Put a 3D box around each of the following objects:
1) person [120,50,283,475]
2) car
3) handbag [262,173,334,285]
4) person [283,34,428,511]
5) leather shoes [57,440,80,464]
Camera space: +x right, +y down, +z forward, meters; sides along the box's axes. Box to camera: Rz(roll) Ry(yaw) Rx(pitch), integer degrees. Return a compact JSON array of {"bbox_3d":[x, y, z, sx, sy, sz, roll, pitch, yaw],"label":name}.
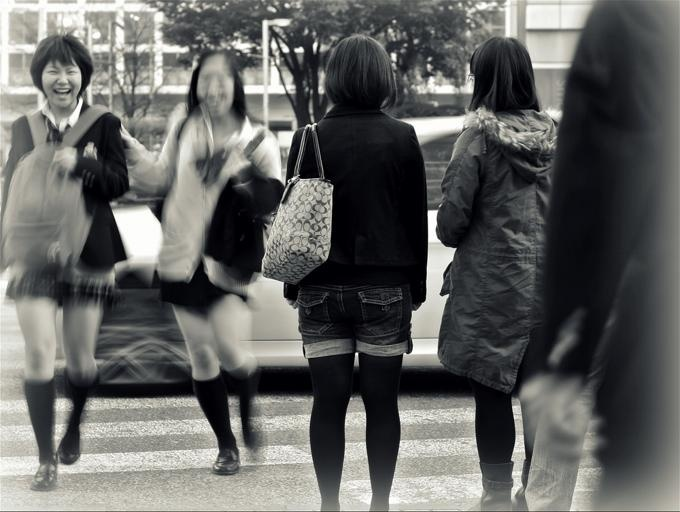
[{"bbox_3d":[-0.701,0.058,5.670,0.794,2.230,0.332,-1,9,-4],"label":"person"},{"bbox_3d":[-0.345,0.055,7.242,2.332,1.232,1.367,1,-1,0],"label":"car"},{"bbox_3d":[-0.185,-0.115,4.893,0.182,0.460,0.466,13,-12,-23],"label":"handbag"},{"bbox_3d":[0.097,0.085,4.945,0.596,2.144,0.349,0,9,4],"label":"person"},{"bbox_3d":[-1.479,1.066,5.831,0.092,0.133,0.134,1,0,-6],"label":"leather shoes"}]
